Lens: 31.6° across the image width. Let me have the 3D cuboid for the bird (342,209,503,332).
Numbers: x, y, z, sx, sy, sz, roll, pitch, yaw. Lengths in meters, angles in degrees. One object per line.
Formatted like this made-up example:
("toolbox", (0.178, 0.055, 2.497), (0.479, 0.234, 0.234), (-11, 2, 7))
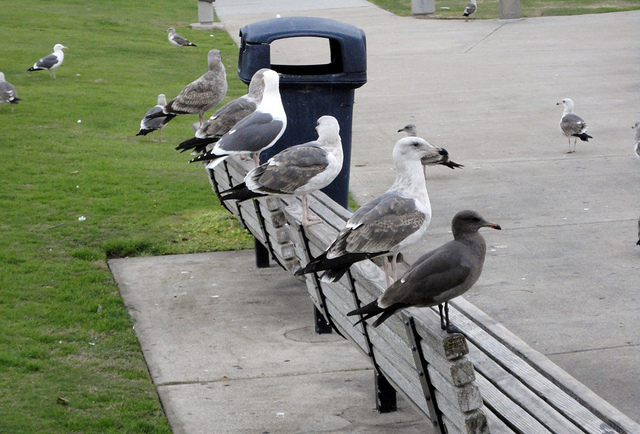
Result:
("bird", (1.118, 0.653, 12.966), (2.229, 1.190, 0.693), (-11, 20, -29))

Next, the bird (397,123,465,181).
("bird", (1.753, -1.038, 18.012), (1.311, 0.797, 0.356), (10, -1, 25))

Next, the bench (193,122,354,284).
("bench", (-0.606, -0.205, 15.614), (0.878, 0.901, 2.605), (-7, 20, -24))

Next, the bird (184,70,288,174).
("bird", (-1.316, -1.366, 15.918), (1.817, 1.205, 0.828), (-16, 34, -15))

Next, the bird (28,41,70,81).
("bird", (-6.395, -3.720, 26.736), (0.656, 0.727, 1.957), (-4, 16, -9))
